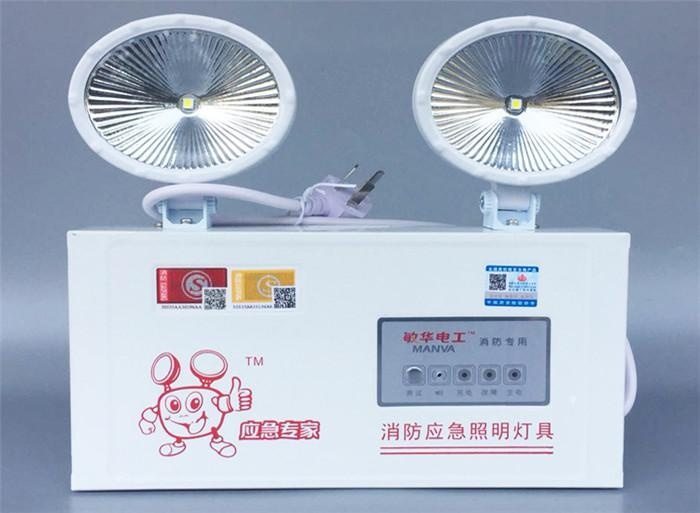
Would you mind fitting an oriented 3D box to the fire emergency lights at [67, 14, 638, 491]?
[{"bbox_3d":[-0.007,0.074,3.518,1.158,0.986,0.388,0,2,-2],"label":"fire emergency lights"}]
